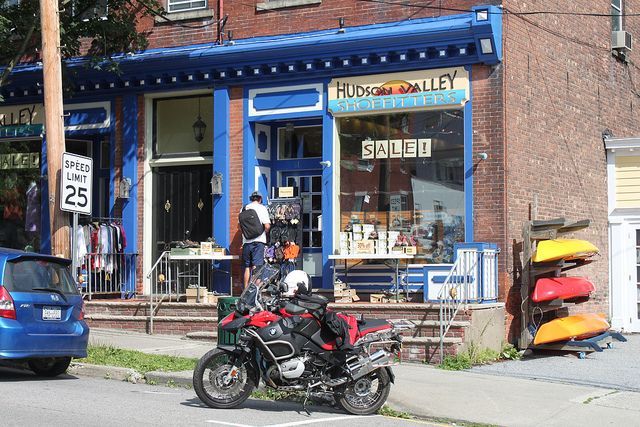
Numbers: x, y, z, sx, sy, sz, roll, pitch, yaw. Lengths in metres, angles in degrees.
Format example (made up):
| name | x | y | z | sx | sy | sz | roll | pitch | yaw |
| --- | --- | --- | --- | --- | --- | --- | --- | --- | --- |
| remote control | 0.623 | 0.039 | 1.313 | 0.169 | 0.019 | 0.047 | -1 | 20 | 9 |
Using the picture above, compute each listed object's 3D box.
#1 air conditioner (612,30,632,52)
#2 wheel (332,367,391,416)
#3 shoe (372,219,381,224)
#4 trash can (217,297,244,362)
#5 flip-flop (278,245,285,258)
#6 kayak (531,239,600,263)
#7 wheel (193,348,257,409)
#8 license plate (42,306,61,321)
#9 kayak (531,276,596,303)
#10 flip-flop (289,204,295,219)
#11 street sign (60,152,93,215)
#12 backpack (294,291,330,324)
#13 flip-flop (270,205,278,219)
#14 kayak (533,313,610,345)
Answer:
| name | x | y | z | sx | sy | sz | roll | pitch | yaw |
| --- | --- | --- | --- | --- | --- | --- | --- | --- | --- |
| air conditioner | 9.067 | -5.109 | 24.525 | 0.534 | 0.679 | 0.956 | -1 | 0 | 32 |
| wheel | 0.743 | 3.055 | 14.566 | 0.997 | 1.069 | 0.273 | -2 | 7 | -5 |
| shoe | 1.426 | 0.215 | 20.730 | 0.211 | 0.107 | 0.044 | 2 | 5 | 7 |
| trash can | -2.000 | 2.228 | 17.126 | 0.905 | 1.530 | 0.919 | 1 | -4 | -3 |
| flip-flop | -0.992 | 0.975 | 20.782 | 0.172 | 0.241 | 0.086 | -1 | -9 | 39 |
| kayak | 5.872 | 0.921 | 19.706 | 1.540 | 0.523 | 0.623 | -1 | 6 | -26 |
| wheel | -1.655 | 2.904 | 14.379 | 1.090 | 1.184 | 0.272 | 0 | 1 | -4 |
| license plate | -5.136 | 1.895 | 15.544 | 0.271 | 0.186 | 0.036 | 4 | -5 | -39 |
| kayak | 5.783 | 1.856 | 19.653 | 1.467 | 0.568 | 0.417 | 1 | 5 | -11 |
| flip-flop | -0.722 | -0.032 | 20.760 | 0.125 | 0.344 | 0.093 | 3 | 5 | 13 |
| street sign | -5.065 | -0.580 | 16.935 | 0.702 | 1.265 | 0.046 | 11 | -20 | -44 |
| backpack | -0.166 | 1.671 | 14.699 | 0.548 | 0.524 | 0.491 | -15 | -1 | -1 |
| flip-flop | -1.200 | -0.031 | 20.943 | 0.156 | 0.346 | 0.167 | 4 | 6 | 23 |
| kayak | 6.248 | 2.808 | 19.924 | 2.658 | 0.751 | 0.912 | -2 | -6 | -34 |
